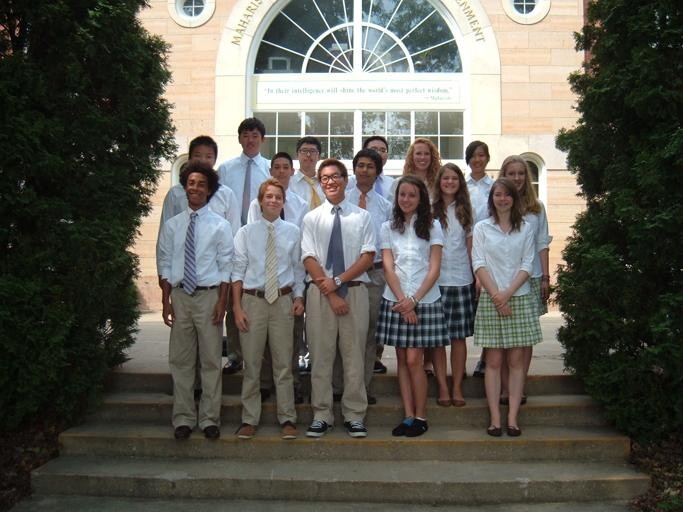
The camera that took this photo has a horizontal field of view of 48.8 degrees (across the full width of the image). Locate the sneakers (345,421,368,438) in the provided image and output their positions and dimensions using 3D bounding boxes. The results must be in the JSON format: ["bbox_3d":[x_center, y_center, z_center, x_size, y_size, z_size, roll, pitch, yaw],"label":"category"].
[{"bbox_3d":[0.144,1.684,7.393,0.236,0.150,0.219,0,3,4],"label":"sneakers"}]

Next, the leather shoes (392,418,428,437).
[{"bbox_3d":[0.683,1.682,7.412,0.361,0.161,0.183,-1,3,-2],"label":"leather shoes"}]

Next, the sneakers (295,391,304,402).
[{"bbox_3d":[-0.428,1.465,7.818,0.052,0.063,0.151,2,4,-4],"label":"sneakers"}]

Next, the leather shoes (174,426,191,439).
[{"bbox_3d":[-1.530,1.728,7.333,0.182,0.147,0.122,-1,3,-14],"label":"leather shoes"}]

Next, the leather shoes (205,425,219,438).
[{"bbox_3d":[-1.249,1.715,7.300,0.144,0.144,0.094,-2,3,-15],"label":"leather shoes"}]

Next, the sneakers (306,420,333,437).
[{"bbox_3d":[-0.220,1.699,7.379,0.109,0.123,0.299,-9,-16,39],"label":"sneakers"}]

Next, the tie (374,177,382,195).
[{"bbox_3d":[0.427,-0.812,8.584,0.117,0.156,0.056,0,-8,-37],"label":"tie"}]

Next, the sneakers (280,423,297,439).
[{"bbox_3d":[-0.497,1.699,7.325,0.154,0.150,0.172,-1,3,-6],"label":"sneakers"}]

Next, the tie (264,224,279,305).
[{"bbox_3d":[-0.685,0.074,7.434,0.137,0.776,0.224,-1,3,-6],"label":"tie"}]

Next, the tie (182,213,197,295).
[{"bbox_3d":[-1.490,-0.035,7.454,0.141,0.801,0.278,-1,3,-10],"label":"tie"}]
